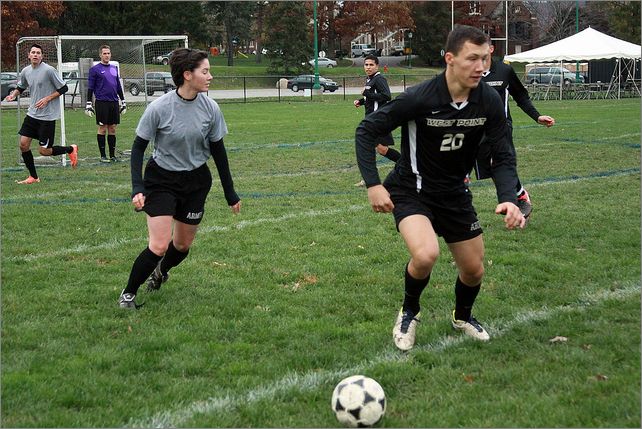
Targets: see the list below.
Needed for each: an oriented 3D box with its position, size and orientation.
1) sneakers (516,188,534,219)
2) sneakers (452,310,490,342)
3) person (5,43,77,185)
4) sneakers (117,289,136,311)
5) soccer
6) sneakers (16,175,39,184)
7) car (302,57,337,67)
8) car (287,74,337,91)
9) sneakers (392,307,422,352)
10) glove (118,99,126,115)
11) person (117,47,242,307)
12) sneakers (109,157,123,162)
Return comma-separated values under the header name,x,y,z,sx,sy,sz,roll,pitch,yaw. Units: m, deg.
name,x,y,z,sx,sy,sz,roll,pitch,yaw
sneakers,2.729,-0.138,7.483,0.144,0.414,0.180,-20,-36,30
sneakers,1.404,1.069,5.277,0.364,0.147,0.137,26,59,37
person,-5.475,-2.021,10.967,1.098,2.676,1.427,-5,11,-24
sneakers,-1.992,0.896,5.724,0.097,0.124,0.270,4,5,-34
soccer,0.280,1.426,4.241,0.408,0.317,0.224,0,10,0
sneakers,-5.657,-0.660,10.746,0.438,0.185,0.158,1,2,-16
car,0.287,-16.177,59.232,2.287,1.209,5.870,1,11,5
car,-0.695,-9.694,41.320,3.829,1.141,2.777,1,11,8
sneakers,0.805,1.042,5.240,0.203,0.201,0.603,5,23,14
glove,-4.691,-2.551,13.298,0.222,0.315,0.121,3,-4,36
person,-1.501,-0.375,5.783,1.198,2.614,0.550,-4,10,-21
sneakers,-4.885,-1.303,13.280,0.102,0.091,0.268,2,8,20
